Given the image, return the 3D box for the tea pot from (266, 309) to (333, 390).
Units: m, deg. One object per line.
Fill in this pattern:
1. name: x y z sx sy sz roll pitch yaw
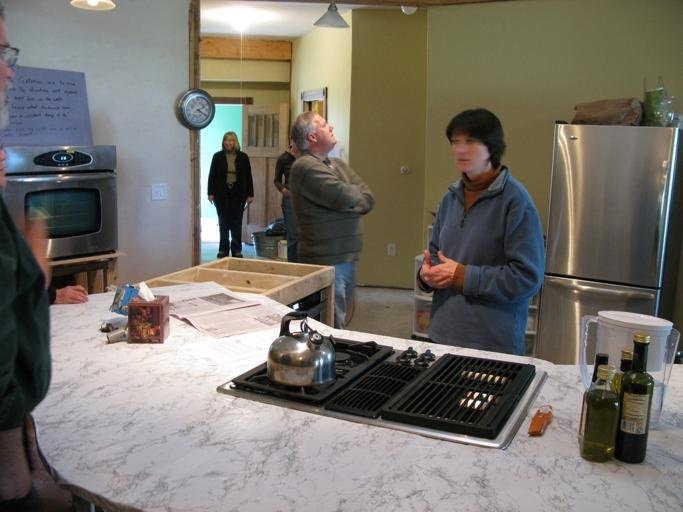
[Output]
1. tea pot: -0.128 0.275 1.582 0.205 0.191 0.206 -1 1 0

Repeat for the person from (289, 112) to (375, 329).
1. person: -0.019 -0.101 3.694 0.547 1.795 0.520 21 36 40

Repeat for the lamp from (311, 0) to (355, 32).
1. lamp: -0.086 -2.120 4.472 0.253 0.284 0.553 0 13 0

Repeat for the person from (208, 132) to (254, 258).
1. person: -1.525 -0.805 6.982 0.596 1.721 0.567 -1 14 -5

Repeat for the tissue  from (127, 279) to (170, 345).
1. tissue : -0.705 0.236 1.938 0.165 0.166 0.156 0 5 -10

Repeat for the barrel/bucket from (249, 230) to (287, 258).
1. barrel/bucket: -1.009 -0.162 6.976 0.368 0.304 0.399 0 3 0

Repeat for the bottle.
1. bottle: 0.650 0.335 1.201 0.144 0.305 0.068 1 14 2

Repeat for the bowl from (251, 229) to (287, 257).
1. bowl: -1.013 -0.171 7.027 0.355 0.290 0.387 2 2 0

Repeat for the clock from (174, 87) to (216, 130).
1. clock: -1.311 -1.316 4.585 0.136 0.369 0.340 13 18 42
